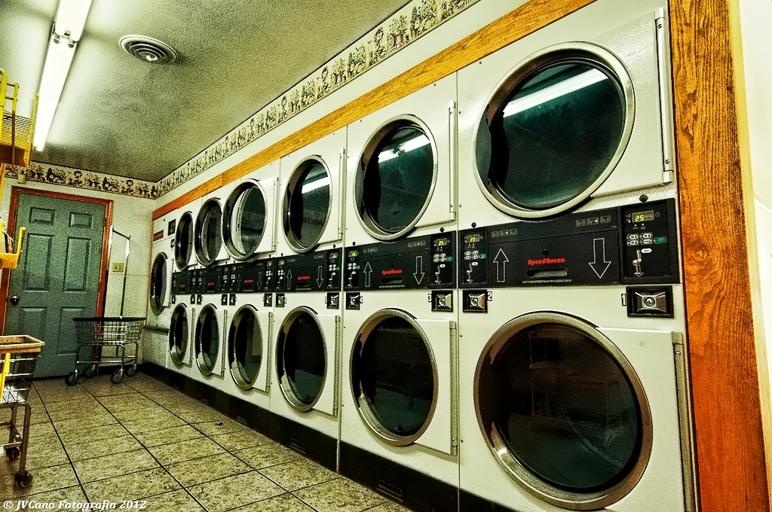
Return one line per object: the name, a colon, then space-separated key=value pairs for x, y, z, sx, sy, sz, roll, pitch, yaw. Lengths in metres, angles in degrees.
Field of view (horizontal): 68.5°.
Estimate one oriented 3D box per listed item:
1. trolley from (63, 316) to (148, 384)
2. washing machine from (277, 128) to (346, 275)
trolley: x=-3.559 y=1.169 z=7.247 sx=0.877 sy=0.897 sz=0.992 roll=10 pitch=-5 yaw=-24
washing machine: x=-0.543 y=-0.471 z=4.869 sx=0.406 sy=0.956 sz=1.024 roll=6 pitch=-12 yaw=-41
